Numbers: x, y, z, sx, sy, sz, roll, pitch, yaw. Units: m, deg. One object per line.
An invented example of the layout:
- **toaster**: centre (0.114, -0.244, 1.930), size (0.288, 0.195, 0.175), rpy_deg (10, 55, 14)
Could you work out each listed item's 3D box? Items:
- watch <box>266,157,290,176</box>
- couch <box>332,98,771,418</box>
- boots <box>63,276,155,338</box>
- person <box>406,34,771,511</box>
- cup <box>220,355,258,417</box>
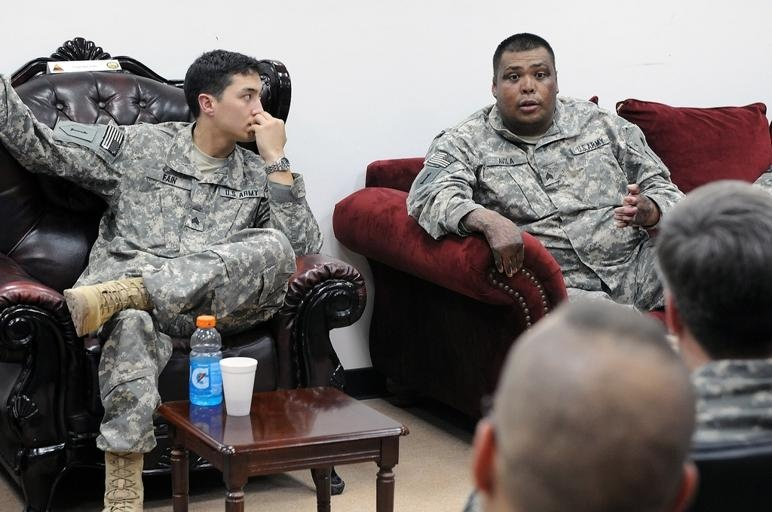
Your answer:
- **watch**: centre (-0.410, -0.343, 2.424), size (0.090, 0.055, 0.092), rpy_deg (-13, -5, 33)
- **couch**: centre (0.412, -0.050, 1.961), size (1.470, 0.728, 0.662), rpy_deg (-9, 13, -28)
- **boots**: centre (-0.876, 0.146, 1.998), size (0.152, 0.101, 0.256), rpy_deg (20, 32, 37)
- **person**: centre (0.645, -0.361, 2.549), size (1.106, 1.150, 0.709), rpy_deg (-7, 11, -22)
- **cup**: centre (-0.415, 0.376, 1.756), size (0.111, 0.137, 0.111), rpy_deg (0, -5, 0)
